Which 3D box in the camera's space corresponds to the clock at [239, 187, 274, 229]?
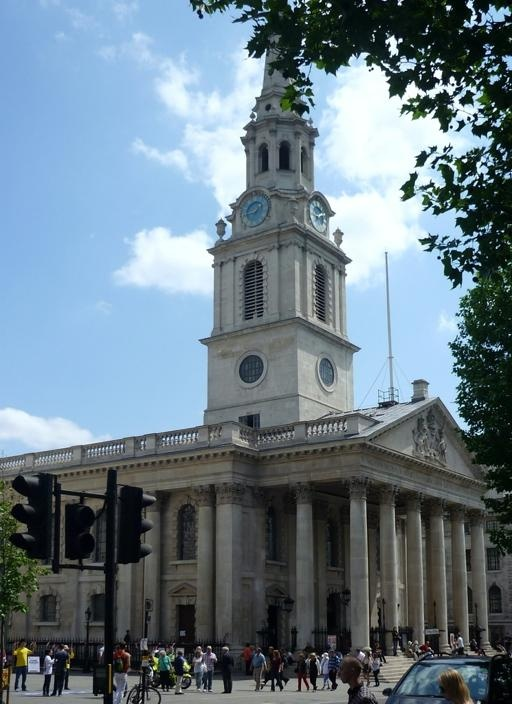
[{"bbox_3d":[-0.129,-7.496,59.232,0.908,1.839,2.154,-12,12,-29],"label":"clock"}]
